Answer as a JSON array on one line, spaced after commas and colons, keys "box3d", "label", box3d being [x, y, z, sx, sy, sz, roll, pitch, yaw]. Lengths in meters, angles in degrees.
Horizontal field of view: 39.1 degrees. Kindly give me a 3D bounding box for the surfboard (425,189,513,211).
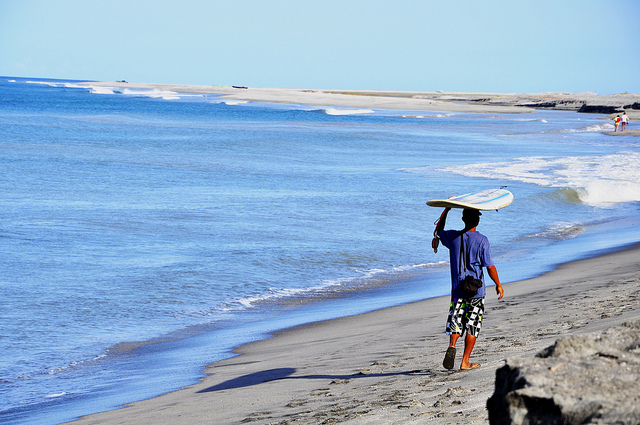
[{"box3d": [3.250, -0.266, 19.056, 1.090, 0.277, 1.687, 4, 7, 35], "label": "surfboard"}]
